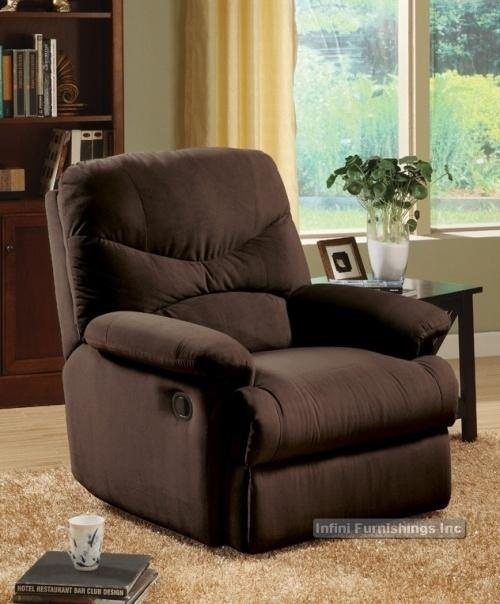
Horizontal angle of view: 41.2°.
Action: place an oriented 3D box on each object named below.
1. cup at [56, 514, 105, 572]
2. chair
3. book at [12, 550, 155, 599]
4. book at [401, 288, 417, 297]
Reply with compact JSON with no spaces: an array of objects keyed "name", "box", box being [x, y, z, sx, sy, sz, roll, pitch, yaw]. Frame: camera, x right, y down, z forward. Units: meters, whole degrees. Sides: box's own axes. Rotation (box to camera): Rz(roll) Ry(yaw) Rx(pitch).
[{"name":"cup","box":[-0.261,0.398,1.088,0.076,0.075,0.074,-1,-6,0]},{"name":"chair","box":[-0.008,0.076,1.740,0.972,0.788,0.851,12,16,38]},{"name":"book","box":[-0.260,0.430,1.024,0.116,0.023,0.107,1,4,10]},{"name":"book","box":[0.530,-0.035,2.200,0.046,0.036,0.043,-4,7,-31]}]
